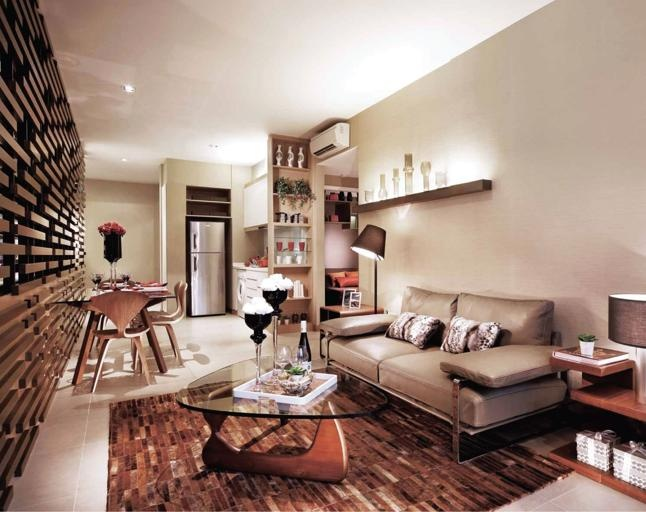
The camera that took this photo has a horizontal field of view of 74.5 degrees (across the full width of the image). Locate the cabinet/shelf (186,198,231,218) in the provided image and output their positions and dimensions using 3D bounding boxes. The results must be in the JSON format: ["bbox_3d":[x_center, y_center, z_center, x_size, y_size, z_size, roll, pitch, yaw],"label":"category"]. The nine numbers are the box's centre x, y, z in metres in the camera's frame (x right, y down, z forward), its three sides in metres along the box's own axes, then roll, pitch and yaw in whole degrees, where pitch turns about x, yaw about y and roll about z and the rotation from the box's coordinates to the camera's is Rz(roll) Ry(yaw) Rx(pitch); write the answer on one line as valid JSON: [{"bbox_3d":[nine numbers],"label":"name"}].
[{"bbox_3d":[-2.326,-0.894,8.599,0.868,0.334,0.451,-3,8,-17],"label":"cabinet/shelf"}]

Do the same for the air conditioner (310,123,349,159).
[{"bbox_3d":[0.118,-1.627,6.144,0.254,0.446,0.770,-5,8,-27],"label":"air conditioner"}]

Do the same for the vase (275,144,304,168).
[{"bbox_3d":[-0.543,-1.525,6.670,0.423,0.300,0.128,-1,10,-19],"label":"vase"}]

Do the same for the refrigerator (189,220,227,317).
[{"bbox_3d":[-2.224,0.280,8.178,0.673,1.805,0.343,-3,8,-16],"label":"refrigerator"}]

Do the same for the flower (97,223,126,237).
[{"bbox_3d":[-2.584,-0.289,5.132,0.356,0.172,0.350,1,1,-35],"label":"flower"}]

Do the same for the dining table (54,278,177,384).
[{"bbox_3d":[-2.080,0.597,4.416,1.161,1.110,0.953,-1,4,-29],"label":"dining table"}]

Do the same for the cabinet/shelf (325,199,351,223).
[{"bbox_3d":[0.285,-0.805,8.043,0.525,0.483,0.379,1,-3,-8],"label":"cabinet/shelf"}]

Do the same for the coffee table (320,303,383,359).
[{"bbox_3d":[0.289,0.903,4.969,0.511,0.594,0.657,-6,-15,16],"label":"coffee table"}]

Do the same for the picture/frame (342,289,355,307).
[{"bbox_3d":[0.322,0.539,5.210,0.029,0.280,0.214,9,-7,-39],"label":"picture/frame"}]

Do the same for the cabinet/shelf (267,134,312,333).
[{"bbox_3d":[-0.461,-0.344,6.542,0.629,3.068,0.622,0,15,1],"label":"cabinet/shelf"}]

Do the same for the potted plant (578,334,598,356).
[{"bbox_3d":[1.802,0.597,2.880,0.147,0.142,0.128,2,-1,12],"label":"potted plant"}]

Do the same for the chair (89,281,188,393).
[{"bbox_3d":[-1.939,0.858,4.615,1.178,1.338,0.990,1,1,-26],"label":"chair"}]

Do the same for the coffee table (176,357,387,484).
[{"bbox_3d":[-0.236,1.126,2.754,1.271,0.554,0.805,2,8,21],"label":"coffee table"}]

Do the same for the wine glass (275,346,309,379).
[{"bbox_3d":[-0.213,0.707,2.837,0.216,0.216,0.219,-1,-2,45],"label":"wine glass"}]

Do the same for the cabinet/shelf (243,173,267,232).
[{"bbox_3d":[-1.275,-0.935,7.965,0.372,0.966,1.133,1,-5,-24],"label":"cabinet/shelf"}]
